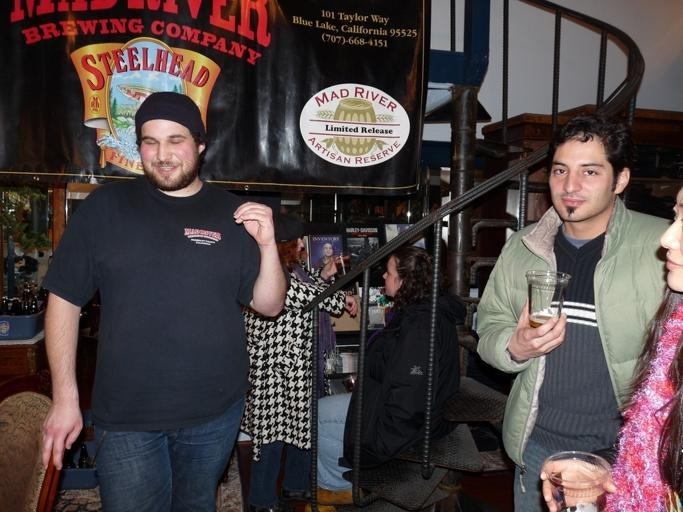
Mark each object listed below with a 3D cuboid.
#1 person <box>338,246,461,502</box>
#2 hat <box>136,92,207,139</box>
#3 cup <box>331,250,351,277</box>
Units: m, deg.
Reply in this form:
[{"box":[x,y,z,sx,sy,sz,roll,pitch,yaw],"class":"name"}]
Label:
[{"box":[0.483,0.558,4.196,1.019,1.888,1.305,3,-3,9],"class":"person"},{"box":[-0.891,-0.718,2.938,0.251,0.166,0.262,-5,-4,-4],"class":"hat"},{"box":[-0.001,0.068,5.014,0.169,0.229,0.180,-1,3,0],"class":"cup"}]
